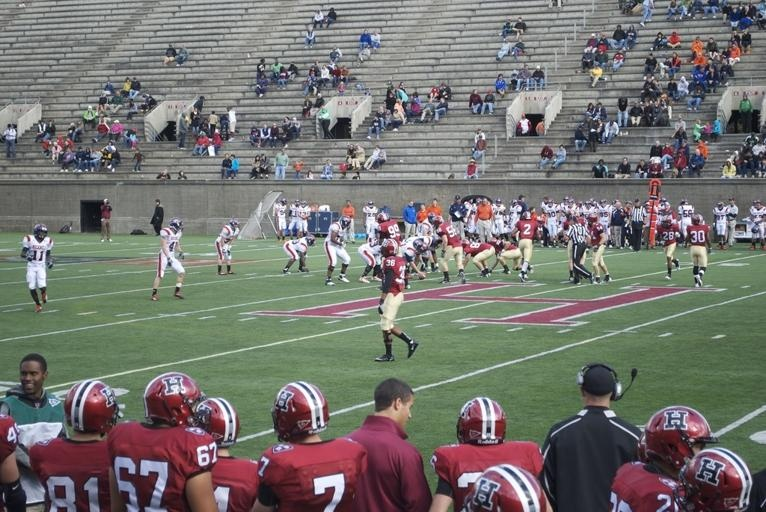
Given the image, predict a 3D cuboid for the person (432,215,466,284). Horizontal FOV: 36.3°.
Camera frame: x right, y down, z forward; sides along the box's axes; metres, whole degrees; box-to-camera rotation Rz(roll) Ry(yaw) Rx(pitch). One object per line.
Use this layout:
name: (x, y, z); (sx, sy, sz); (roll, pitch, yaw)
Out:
person: (2.104, -0.283, 36.370); (0.968, 2.214, 0.855); (2, -1, 9)

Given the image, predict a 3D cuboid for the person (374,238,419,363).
person: (0.256, 0.960, 26.783); (0.830, 2.776, 1.128); (0, -1, 0)

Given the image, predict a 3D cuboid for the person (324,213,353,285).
person: (-1.352, -0.245, 36.638); (0.965, 2.096, 0.830); (0, 2, -6)
